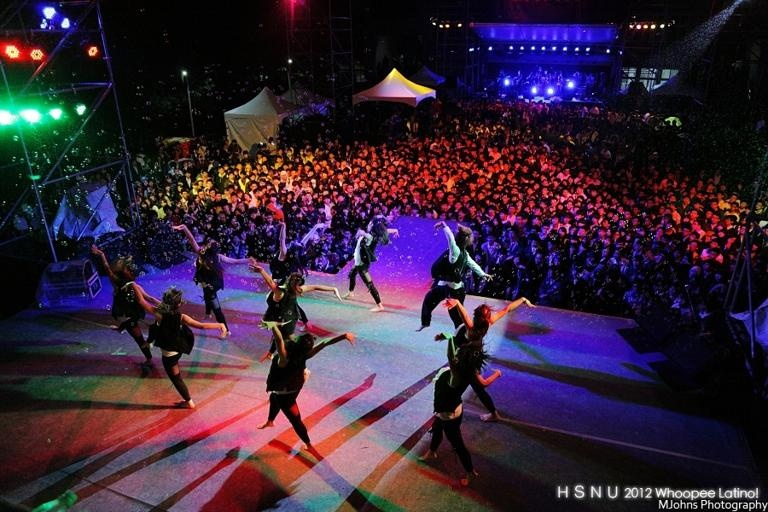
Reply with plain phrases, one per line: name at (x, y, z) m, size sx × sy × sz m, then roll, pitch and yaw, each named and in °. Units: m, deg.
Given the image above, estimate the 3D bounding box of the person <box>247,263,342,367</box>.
person at (-1.527, 1.021, 7.833) m, size 0.857 × 1.330 × 1.064 m, roll 22°, pitch 30°, yaw 13°

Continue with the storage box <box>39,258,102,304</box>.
storage box at (-6.405, 0.541, 9.560) m, size 0.909 × 0.805 × 0.725 m, roll -5°, pitch 10°, yaw 2°

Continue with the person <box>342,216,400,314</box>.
person at (-0.277, 0.262, 9.804) m, size 1.136 × 1.880 × 1.403 m, roll 18°, pitch 22°, yaw 20°

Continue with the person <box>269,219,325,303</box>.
person at (-1.871, 0.089, 8.947) m, size 0.865 × 0.317 × 1.641 m, roll -7°, pitch 33°, yaw 6°

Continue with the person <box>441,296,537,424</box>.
person at (1.605, 1.606, 6.933) m, size 0.951 × 1.922 × 1.459 m, roll -24°, pitch 29°, yaw -39°

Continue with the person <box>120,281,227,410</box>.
person at (-2.954, 1.279, 6.871) m, size 1.242 × 2.131 × 0.718 m, roll -4°, pitch 12°, yaw -16°

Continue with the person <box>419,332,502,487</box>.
person at (1.000, 1.894, 5.936) m, size 1.044 × 1.932 × 0.677 m, roll 1°, pitch 11°, yaw 15°

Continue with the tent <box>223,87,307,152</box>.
tent at (-4.525, -4.714, 17.679) m, size 2.527 × 2.378 × 2.501 m, roll 9°, pitch 45°, yaw 10°

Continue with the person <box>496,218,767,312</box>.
person at (4.343, 0.319, 9.007) m, size 4.081 × 1.397 × 0.918 m, roll 4°, pitch 13°, yaw 16°

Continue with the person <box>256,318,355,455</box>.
person at (-1.161, 1.740, 6.115) m, size 1.084 × 1.840 × 0.587 m, roll 18°, pitch 19°, yaw 17°
